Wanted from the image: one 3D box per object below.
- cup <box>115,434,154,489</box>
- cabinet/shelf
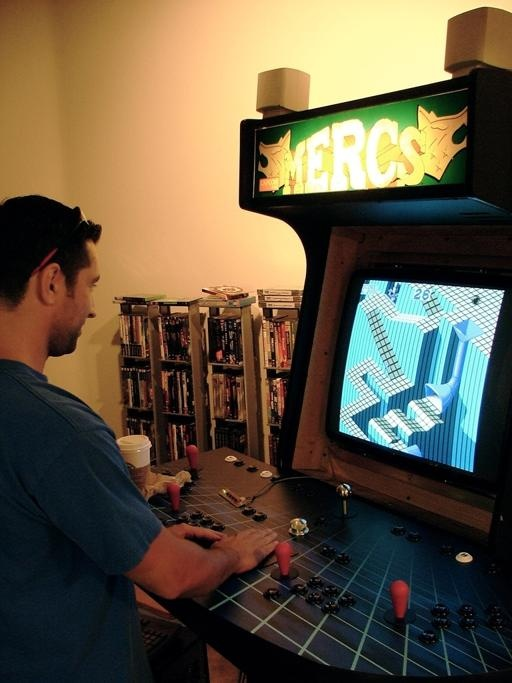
[{"bbox_3d":[-0.339,0.346,1.569,0.104,0.129,0.094,-8,-1,-10],"label":"cup"},{"bbox_3d":[-0.294,0.223,3.701,1.324,1.137,0.425,3,8,29],"label":"cabinet/shelf"}]
